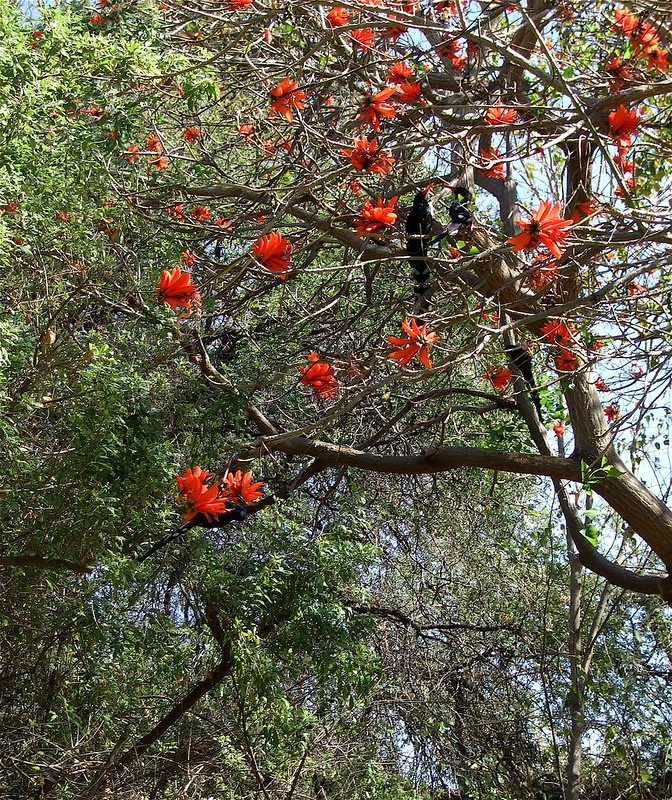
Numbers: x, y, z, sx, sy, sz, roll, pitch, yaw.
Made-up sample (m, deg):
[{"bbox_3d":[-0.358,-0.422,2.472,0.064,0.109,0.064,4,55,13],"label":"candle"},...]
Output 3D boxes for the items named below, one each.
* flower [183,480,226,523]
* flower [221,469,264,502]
[{"bbox_3d":[-0.422,0.326,3.032,0.129,0.092,0.126,47,-64,28],"label":"flower"},{"bbox_3d":[-0.303,0.298,3.214,0.070,0.147,0.112,108,-35,-78],"label":"flower"}]
